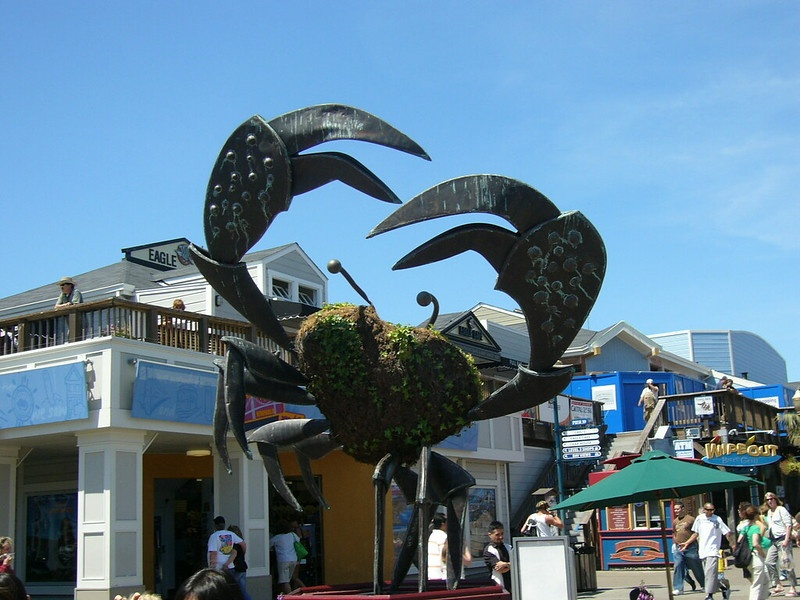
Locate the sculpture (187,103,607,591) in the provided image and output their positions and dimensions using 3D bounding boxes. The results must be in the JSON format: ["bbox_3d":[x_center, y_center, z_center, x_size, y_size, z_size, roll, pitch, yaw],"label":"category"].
[{"bbox_3d":[-0.504,1.771,16.455,7.333,8.223,2.819,23,37,26],"label":"sculpture"}]

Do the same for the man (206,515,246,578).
[{"bbox_3d":[-3.220,4.821,17.882,0.719,1.679,0.545,-1,8,-18],"label":"man"}]

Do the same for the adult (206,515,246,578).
[{"bbox_3d":[-3.229,4.821,17.853,0.656,1.660,0.591,0,4,-20],"label":"adult"}]

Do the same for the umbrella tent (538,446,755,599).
[{"bbox_3d":[3.974,3.132,15.494,2.608,1.893,2.675,12,-30,-26],"label":"umbrella tent"}]

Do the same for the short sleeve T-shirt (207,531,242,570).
[{"bbox_3d":[-3.199,4.596,17.749,0.670,0.803,0.294,-4,9,-30],"label":"short sleeve T-shirt"}]

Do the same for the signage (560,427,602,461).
[{"bbox_3d":[4.166,3.370,22.702,0.741,0.613,0.119,-8,-16,42],"label":"signage"}]

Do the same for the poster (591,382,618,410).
[{"bbox_3d":[7.173,3.419,34.234,0.870,0.915,0.092,-10,-16,44],"label":"poster"}]

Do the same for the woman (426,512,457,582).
[{"bbox_3d":[0.581,3.916,15.343,0.291,0.877,0.646,0,17,5],"label":"woman"}]

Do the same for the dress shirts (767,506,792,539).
[{"bbox_3d":[7.298,4.340,18.819,0.482,0.503,0.268,-15,-41,32],"label":"dress shirts"}]

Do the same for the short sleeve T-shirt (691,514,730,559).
[{"bbox_3d":[5.741,4.339,18.097,0.654,0.833,0.281,1,18,23],"label":"short sleeve T-shirt"}]
